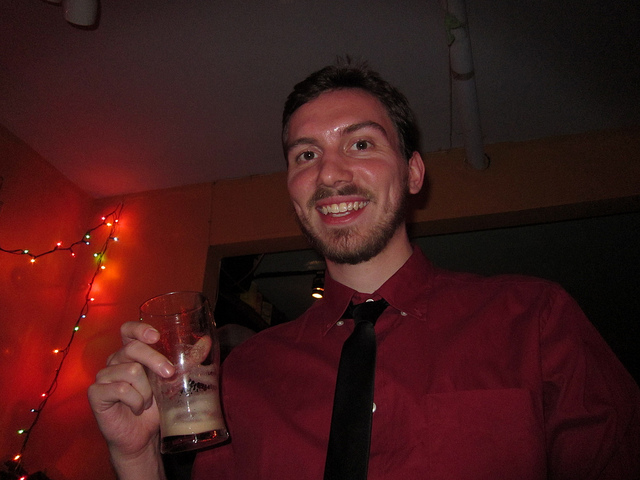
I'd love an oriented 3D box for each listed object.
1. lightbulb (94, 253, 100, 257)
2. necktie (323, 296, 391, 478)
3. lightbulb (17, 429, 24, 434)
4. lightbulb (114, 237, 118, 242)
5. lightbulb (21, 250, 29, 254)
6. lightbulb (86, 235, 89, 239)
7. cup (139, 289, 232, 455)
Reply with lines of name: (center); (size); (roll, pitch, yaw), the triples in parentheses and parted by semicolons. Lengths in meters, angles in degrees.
lightbulb: (-2.099, 0.146, 4.608); (0.061, 0.036, 0.014); (-5, -10, 22)
necktie: (0.112, 0.474, 1.659); (0.167, 0.534, 0.054); (-10, -39, 19)
lightbulb: (-2.364, 1.515, 3.873); (0.041, 0.038, 0.022); (2, -22, -17)
lightbulb: (-1.928, 0.000, 4.633); (0.043, 0.040, 0.015); (-7, -11, 31)
lightbulb: (-2.476, 0.104, 4.116); (0.016, 0.038, 0.062); (-4, -10, 13)
lightbulb: (-2.239, -0.025, 4.723); (0.013, 0.040, 0.027); (-8, -11, 33)
cup: (-0.492, 0.467, 1.754); (0.298, 0.555, 0.191); (2, -10, -20)
